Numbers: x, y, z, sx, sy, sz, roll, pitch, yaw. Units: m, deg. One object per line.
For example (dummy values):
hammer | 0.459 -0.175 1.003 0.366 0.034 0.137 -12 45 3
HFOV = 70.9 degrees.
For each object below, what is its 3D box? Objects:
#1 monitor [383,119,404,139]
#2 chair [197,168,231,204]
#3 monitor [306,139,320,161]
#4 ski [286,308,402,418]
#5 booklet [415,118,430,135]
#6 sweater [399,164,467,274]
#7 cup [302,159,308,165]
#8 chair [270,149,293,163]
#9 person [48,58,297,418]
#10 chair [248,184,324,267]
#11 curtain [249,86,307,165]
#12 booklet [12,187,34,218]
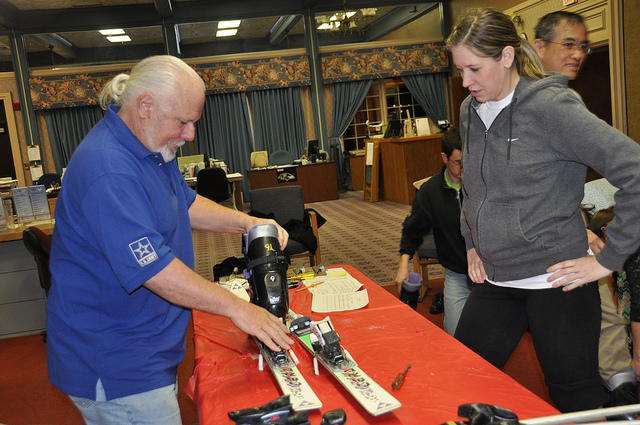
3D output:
monitor | 1.532 -1.701 9.177 0.323 0.435 0.422 2 21 15
chair | -1.685 -0.464 7.561 0.609 0.776 0.652 0 17 -4
monitor | -0.160 -1.408 10.219 0.271 0.439 0.618 5 8 35
ski | 0.054 0.509 1.716 0.169 0.143 0.691 -12 17 -18
booklet | 2.023 -1.698 8.947 0.234 0.320 0.455 -6 9 12
sweater | 0.745 0.073 3.203 0.785 0.641 0.546 -7 9 -6
cup | -0.350 -1.116 10.051 0.113 0.106 0.097 2 3 3
chair | -0.905 -1.296 10.335 0.339 0.443 0.396 -4 9 -10
person | -0.726 0.112 1.900 0.977 1.455 0.620 -10 9 -10
chair | -0.398 0.277 4.876 0.772 1.051 0.641 -9 15 -7
curtain | -1.031 -2.171 11.224 1.338 1.775 0.202 -8 9 -1
booklet | -3.064 -0.103 4.657 0.160 0.191 0.110 -12 10 -23
